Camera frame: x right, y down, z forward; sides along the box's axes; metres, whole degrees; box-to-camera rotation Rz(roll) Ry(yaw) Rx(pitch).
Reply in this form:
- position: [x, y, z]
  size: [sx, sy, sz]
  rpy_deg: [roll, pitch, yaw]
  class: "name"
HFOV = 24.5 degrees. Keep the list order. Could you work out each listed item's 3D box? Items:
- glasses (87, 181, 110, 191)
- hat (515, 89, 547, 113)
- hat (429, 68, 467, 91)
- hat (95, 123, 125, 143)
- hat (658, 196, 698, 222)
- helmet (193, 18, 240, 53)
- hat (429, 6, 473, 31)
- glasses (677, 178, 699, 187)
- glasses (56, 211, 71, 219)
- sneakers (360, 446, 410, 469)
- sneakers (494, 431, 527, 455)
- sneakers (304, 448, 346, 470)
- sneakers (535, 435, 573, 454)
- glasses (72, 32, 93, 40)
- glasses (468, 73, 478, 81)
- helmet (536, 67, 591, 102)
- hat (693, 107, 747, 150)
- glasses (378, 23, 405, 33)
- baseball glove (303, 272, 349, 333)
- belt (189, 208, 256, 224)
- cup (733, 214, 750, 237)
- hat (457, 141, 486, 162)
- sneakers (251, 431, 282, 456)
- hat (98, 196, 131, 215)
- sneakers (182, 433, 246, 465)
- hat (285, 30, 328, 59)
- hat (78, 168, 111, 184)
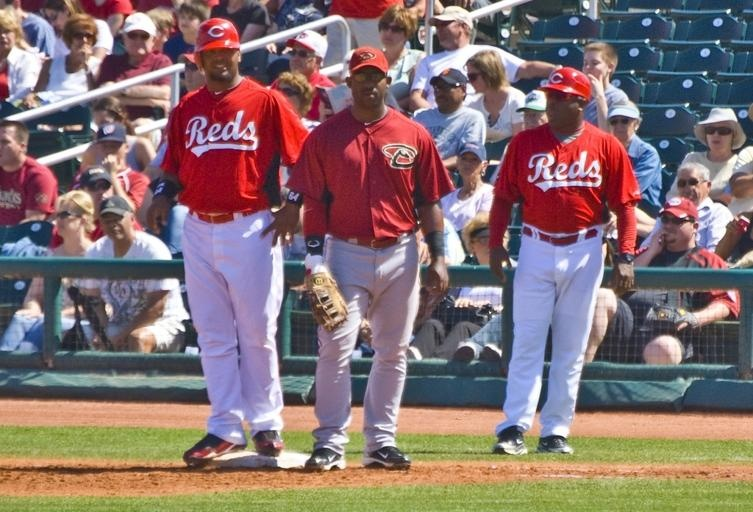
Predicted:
- position: [-2.578, -0.652, 16.168]
  size: [0.189, 0.106, 0.049]
  rpy_deg: [1, 3, -15]
  class: "glasses"
- position: [1.441, -1.438, 15.992]
  size: [0.292, 0.150, 0.202]
  rpy_deg: [-1, 1, -43]
  class: "hat"
- position: [0.695, -1.662, 16.246]
  size: [0.268, 0.122, 0.183]
  rpy_deg: [11, -6, -38]
  class: "hat"
- position: [-2.553, -1.185, 16.746]
  size: [0.277, 0.194, 0.193]
  rpy_deg: [2, 3, -9]
  class: "hat"
- position: [2.672, -0.423, 15.336]
  size: [0.296, 0.140, 0.206]
  rpy_deg: [19, -9, -34]
  class: "hat"
- position: [-1.219, -1.695, 13.326]
  size: [0.316, 0.279, 0.259]
  rpy_deg: [2, 3, -7]
  class: "helmet"
- position: [0.793, -2.379, 17.224]
  size: [0.346, 0.149, 0.219]
  rpy_deg: [6, -3, -21]
  class: "hat"
- position: [2.869, -0.678, 16.005]
  size: [0.070, 0.104, 0.211]
  rpy_deg: [-1, 3, -43]
  class: "glasses"
- position: [-2.826, -0.367, 15.705]
  size: [0.122, 0.071, 0.038]
  rpy_deg: [2, 3, -2]
  class: "glasses"
- position: [0.075, 1.562, 13.208]
  size: [0.363, 0.130, 0.138]
  rpy_deg: [-3, -4, 24]
  class: "sneakers"
- position: [1.059, 1.471, 13.643]
  size: [0.275, 0.186, 0.313]
  rpy_deg: [2, 2, 3]
  class: "sneakers"
- position: [-0.373, 1.560, 13.093]
  size: [0.313, 0.130, 0.136]
  rpy_deg: [9, -12, -43]
  class: "sneakers"
- position: [1.396, 1.506, 13.581]
  size: [0.263, 0.106, 0.129]
  rpy_deg: [-1, -1, 22]
  class: "sneakers"
- position: [-3.125, -2.366, 18.548]
  size: [0.196, 0.066, 0.053]
  rpy_deg: [1, 3, -17]
  class: "glasses"
- position: [0.934, -1.728, 16.761]
  size: [0.038, 0.076, 0.114]
  rpy_deg: [0, 3, -41]
  class: "glasses"
- position: [1.557, -1.356, 13.796]
  size: [0.361, 0.153, 0.255]
  rpy_deg: [20, -2, -30]
  class: "helmet"
- position: [3.404, -1.273, 17.175]
  size: [0.492, 0.417, 0.618]
  rpy_deg: [2, 3, 9]
  class: "hat"
- position: [0.145, -2.274, 17.234]
  size: [0.284, 0.083, 0.114]
  rpy_deg: [3, 3, 32]
  class: "glasses"
- position: [-0.370, 0.348, 13.003]
  size: [0.321, 0.426, 0.135]
  rpy_deg: [-25, 6, 12]
  class: "baseball glove"
- position: [-1.187, -0.288, 13.255]
  size: [0.485, 0.095, 0.066]
  rpy_deg: [2, 3, 8]
  class: "belt"
- position: [3.275, -0.278, 15.534]
  size: [0.144, 0.193, 0.096]
  rpy_deg: [25, 45, 35]
  class: "cup"
- position: [0.889, -0.964, 16.127]
  size: [0.234, 0.179, 0.297]
  rpy_deg: [2, 2, 2]
  class: "hat"
- position: [-0.829, 1.450, 13.284]
  size: [0.229, 0.203, 0.177]
  rpy_deg: [2, 3, -3]
  class: "sneakers"
- position: [-2.307, -0.441, 15.412]
  size: [0.284, 0.168, 0.236]
  rpy_deg: [1, 3, -11]
  class: "hat"
- position: [-1.254, 1.498, 13.219]
  size: [0.490, 0.172, 0.173]
  rpy_deg: [1, -5, -30]
  class: "sneakers"
- position: [-0.660, -2.193, 17.748]
  size: [0.381, 0.191, 0.285]
  rpy_deg: [31, -7, -40]
  class: "hat"
- position: [-2.637, -0.736, 16.241]
  size: [0.339, 0.180, 0.206]
  rpy_deg: [2, 3, 8]
  class: "hat"
